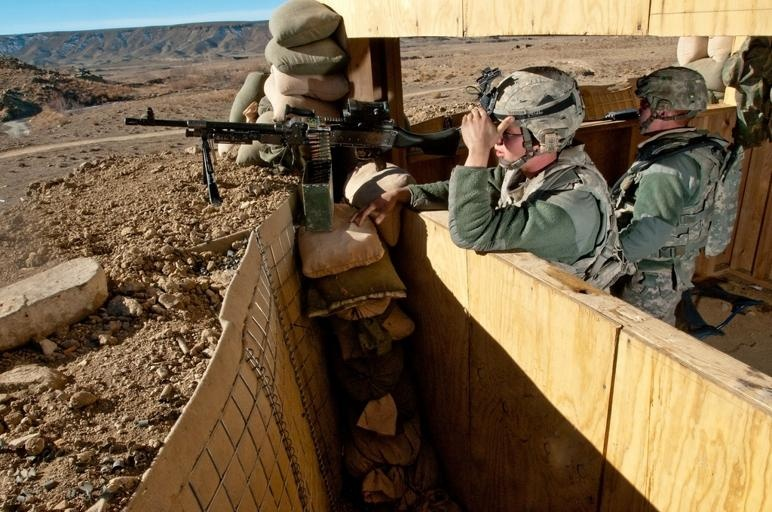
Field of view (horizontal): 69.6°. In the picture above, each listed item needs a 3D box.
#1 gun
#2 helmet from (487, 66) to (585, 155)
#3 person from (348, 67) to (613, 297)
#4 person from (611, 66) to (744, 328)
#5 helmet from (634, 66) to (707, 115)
[{"bbox_3d":[-0.700,-0.759,4.561,2.552,1.024,0.315,-2,-9,-7],"label":"gun"},{"bbox_3d":[0.938,-0.930,3.536,0.643,0.497,0.564,-12,34,2],"label":"helmet"},{"bbox_3d":[0.949,-0.443,3.437,1.017,1.374,0.630,6,21,21],"label":"person"},{"bbox_3d":[2.002,-0.329,3.998,1.159,1.939,0.634,-18,26,-40],"label":"person"},{"bbox_3d":[2.062,-1.201,4.016,0.469,0.312,0.368,8,19,23],"label":"helmet"}]
